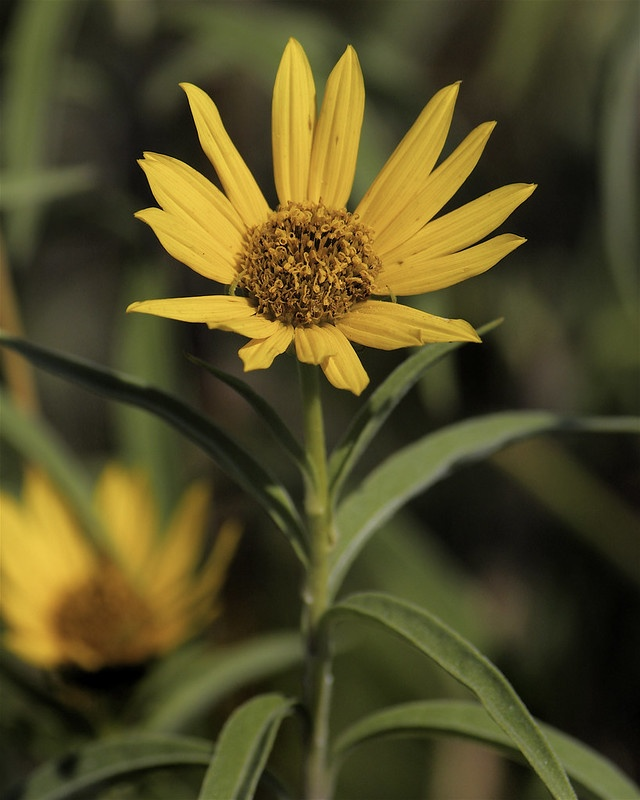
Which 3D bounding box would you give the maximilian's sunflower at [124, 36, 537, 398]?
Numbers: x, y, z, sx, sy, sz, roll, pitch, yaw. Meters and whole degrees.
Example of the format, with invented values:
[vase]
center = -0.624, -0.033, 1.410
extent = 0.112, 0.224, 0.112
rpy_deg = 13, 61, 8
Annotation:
[maximilian's sunflower]
center = 0.001, -0.120, 0.644
extent = 0.288, 0.295, 0.119
rpy_deg = 5, -103, -19
